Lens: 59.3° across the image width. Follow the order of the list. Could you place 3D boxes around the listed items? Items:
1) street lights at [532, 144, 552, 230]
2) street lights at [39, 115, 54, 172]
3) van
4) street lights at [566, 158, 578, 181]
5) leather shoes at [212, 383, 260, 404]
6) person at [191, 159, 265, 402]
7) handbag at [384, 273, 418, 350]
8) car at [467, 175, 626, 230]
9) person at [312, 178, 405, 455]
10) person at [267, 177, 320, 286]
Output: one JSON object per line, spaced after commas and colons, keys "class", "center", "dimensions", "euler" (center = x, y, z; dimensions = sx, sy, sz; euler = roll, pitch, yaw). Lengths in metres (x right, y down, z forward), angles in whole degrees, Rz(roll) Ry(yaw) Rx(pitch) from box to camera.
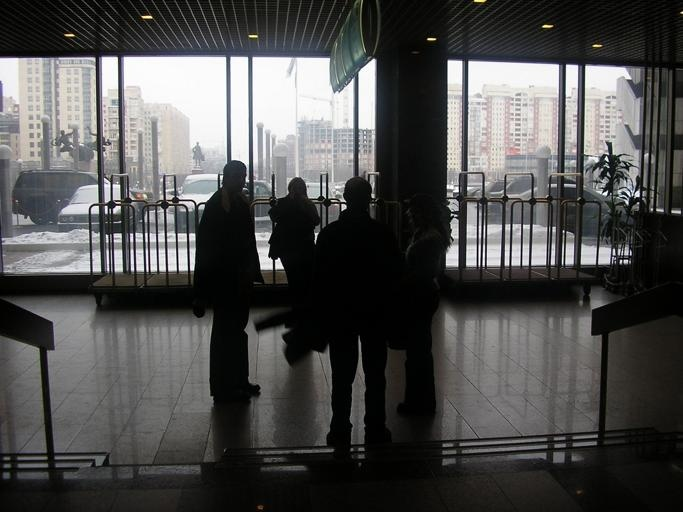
{"class": "street lights", "center": [3.106, -1.066, 9.264], "dimensions": [0.232, 1.260, 0.724], "euler": [2, 8, 18]}
{"class": "street lights", "center": [-4.381, -1.673, 8.873], "dimensions": [0.185, 0.767, 0.031], "euler": [0, 7, 2]}
{"class": "van", "center": [-3.997, -0.963, 9.367], "dimensions": [1.888, 0.888, 0.908], "euler": [-3, 10, -9]}
{"class": "street lights", "center": [3.624, -1.374, 9.448], "dimensions": [0.154, 0.386, 0.125], "euler": [-8, 10, -43]}
{"class": "leather shoes", "center": [-0.823, 1.062, 4.681], "dimensions": [0.377, 0.172, 0.131], "euler": [3, -2, -18]}
{"class": "person", "center": [-0.867, 0.204, 4.580], "dimensions": [0.504, 1.832, 0.359], "euler": [-2, 8, -10]}
{"class": "handbag", "center": [0.364, 0.255, 3.848], "dimensions": [0.195, 0.735, 0.166], "euler": [9, -18, -21]}
{"class": "car", "center": [3.209, -0.703, 9.207], "dimensions": [2.031, 0.735, 0.976], "euler": [-2, 8, -7]}
{"class": "person", "center": [0.110, 0.377, 3.660], "dimensions": [0.523, 1.690, 0.325], "euler": [0, 7, 6]}
{"class": "person", "center": [-0.415, -0.138, 5.189], "dimensions": [0.405, 1.112, 0.369], "euler": [3, 23, -2]}
